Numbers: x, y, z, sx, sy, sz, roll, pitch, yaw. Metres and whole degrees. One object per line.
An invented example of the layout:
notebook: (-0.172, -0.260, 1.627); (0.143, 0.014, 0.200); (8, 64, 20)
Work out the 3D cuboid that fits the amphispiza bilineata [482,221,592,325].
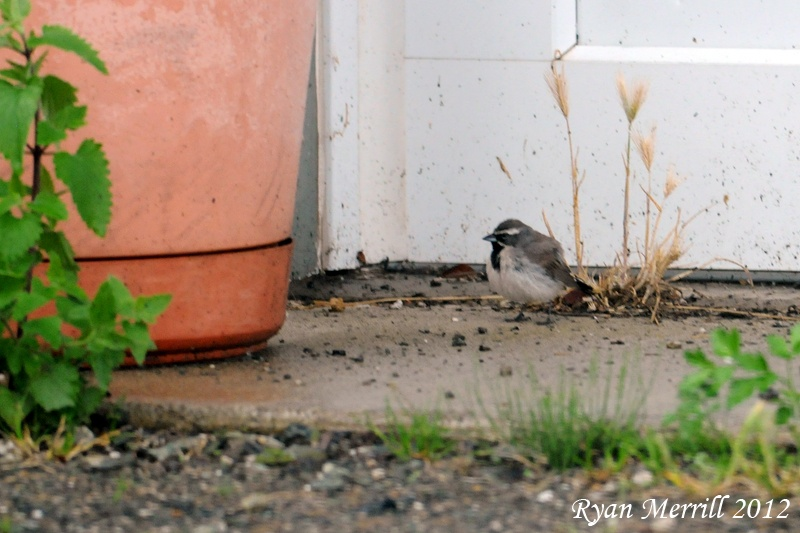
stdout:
amphispiza bilineata: (0.738, 0.002, 4.766); (0.590, 0.507, 0.367); (-6, 4, -20)
